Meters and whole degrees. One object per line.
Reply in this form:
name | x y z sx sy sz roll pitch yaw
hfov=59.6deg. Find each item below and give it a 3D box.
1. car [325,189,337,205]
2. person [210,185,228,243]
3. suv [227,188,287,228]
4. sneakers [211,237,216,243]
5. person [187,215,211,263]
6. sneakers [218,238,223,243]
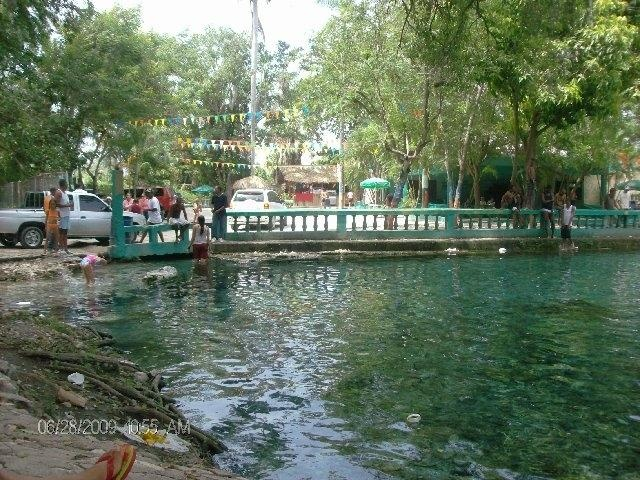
car | 1.096 -4.562 59.619 1.583 1.593 1.423 -2 0 -43
person | -3.573 -0.779 19.727 0.515 1.605 0.422 0 7 -8
suv | -3.014 -1.320 23.662 1.553 1.356 3.148 1 8 9
sneakers | -3.802 -0.003 19.795 0.117 0.156 0.082 5 -39 -5
person | -3.610 -0.051 16.782 0.540 1.453 1.713 -1 7 -13
sneakers | -3.564 0.002 19.815 0.137 0.189 0.408 -2 -1 -28
